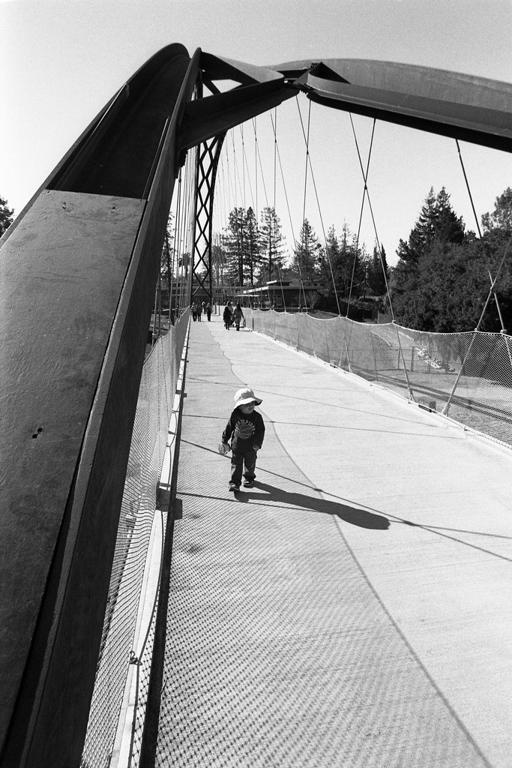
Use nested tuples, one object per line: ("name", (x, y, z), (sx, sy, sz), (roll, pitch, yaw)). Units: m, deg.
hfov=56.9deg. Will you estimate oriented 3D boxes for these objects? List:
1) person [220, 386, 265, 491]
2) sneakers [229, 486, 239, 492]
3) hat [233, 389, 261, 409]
("person", (-0.138, 0.576, 4.880), (0.421, 1.028, 0.508), (2, 6, 3))
("sneakers", (-0.211, 1.041, 4.696), (0.098, 0.072, 0.045), (-1, 6, -22))
("hat", (-0.091, 0.162, 4.880), (0.226, 0.205, 0.464), (2, 8, -5))
